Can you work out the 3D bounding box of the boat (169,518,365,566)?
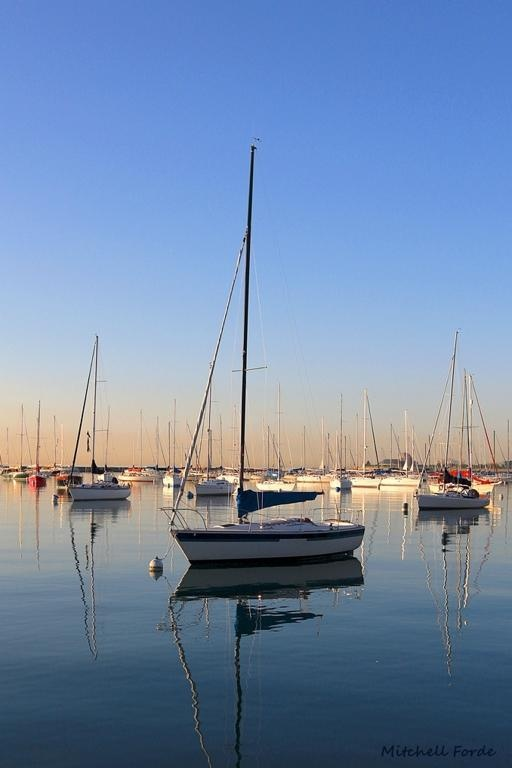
[{"bbox_3d":[0.554,4.731,26.618,5.760,1.797,2.115,8,-20,-26],"label":"boat"}]
